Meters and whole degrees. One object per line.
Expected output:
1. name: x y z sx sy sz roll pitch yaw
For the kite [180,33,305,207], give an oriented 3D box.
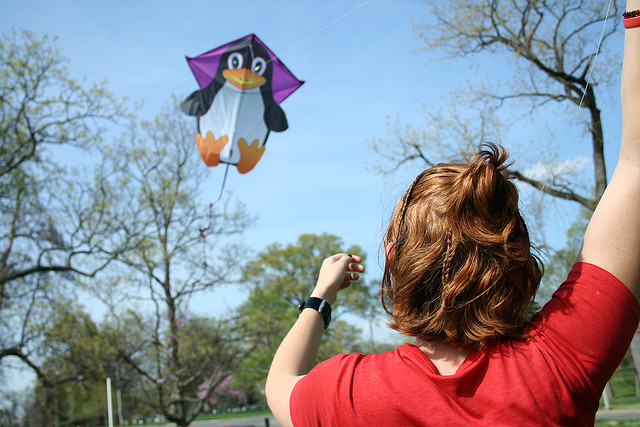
1. kite: -1.243 -1.411 11.021 1.435 3.000 1.163 1 -1 -14
